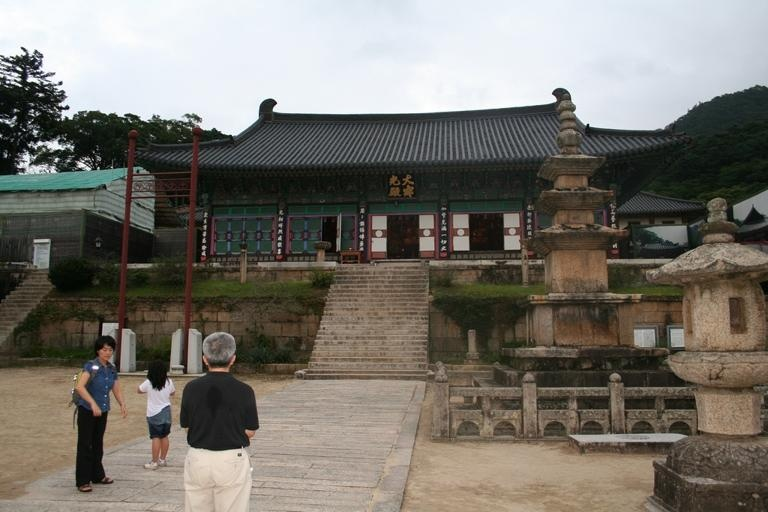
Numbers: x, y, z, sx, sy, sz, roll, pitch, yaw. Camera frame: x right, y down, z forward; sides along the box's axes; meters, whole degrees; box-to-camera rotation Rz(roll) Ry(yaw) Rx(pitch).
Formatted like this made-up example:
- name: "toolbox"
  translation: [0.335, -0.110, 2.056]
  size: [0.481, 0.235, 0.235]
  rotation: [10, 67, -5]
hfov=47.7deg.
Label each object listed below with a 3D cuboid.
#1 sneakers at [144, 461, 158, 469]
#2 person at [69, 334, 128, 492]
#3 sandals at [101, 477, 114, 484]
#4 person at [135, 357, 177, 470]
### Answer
- name: "sneakers"
  translation: [-5.960, 5.344, 22.177]
  size: [0.334, 0.123, 0.140]
  rotation: [3, -2, 1]
- name: "person"
  translation: [-7.213, 3.905, 21.699]
  size: [1.125, 3.834, 0.577]
  rotation: [4, -6, -16]
- name: "sandals"
  translation: [-6.908, 5.585, 21.602]
  size: [0.283, 0.101, 0.126]
  rotation: [0, 2, 10]
- name: "person"
  translation: [-5.911, 4.063, 22.383]
  size: [0.820, 2.772, 0.730]
  rotation: [4, -6, -12]
